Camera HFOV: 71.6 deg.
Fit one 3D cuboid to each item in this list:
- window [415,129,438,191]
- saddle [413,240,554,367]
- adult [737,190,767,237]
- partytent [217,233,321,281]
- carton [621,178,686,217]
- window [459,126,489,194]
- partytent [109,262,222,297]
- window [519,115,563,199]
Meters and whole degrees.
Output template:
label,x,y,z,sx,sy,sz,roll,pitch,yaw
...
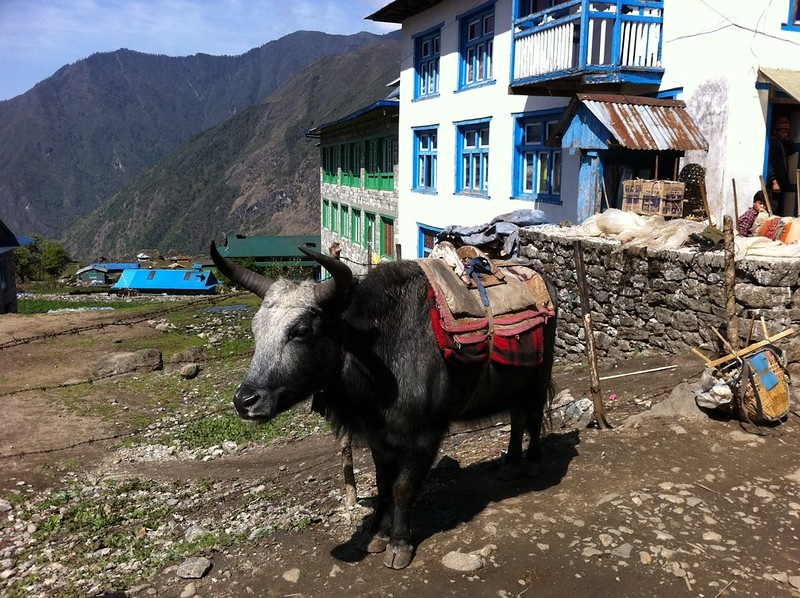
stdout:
label,x,y,z,sx,sy,sz,roll,pitch,yaw
window,1.057,-5.667,22.196,0.267,2.842,2.199,-4,9,-22
saddle,0.955,0.060,6.177,1.372,0.869,1.643,5,28,5
adult,6.957,-1.697,10.925,0.521,0.785,0.500,-5,11,12
partytent,-9.373,-3.276,40.531,8.699,3.261,6.393,1,5,-19
carton,5.106,-2.064,11.255,0.606,0.744,1.001,-7,15,-29
window,2.535,-4.806,18.812,0.322,2.626,2.037,-3,9,-23
partytent,-25.588,-1.885,60.711,9.743,3.505,4.724,-8,11,3
window,3.965,-4.046,15.490,0.157,2.624,2.030,-6,11,-27
